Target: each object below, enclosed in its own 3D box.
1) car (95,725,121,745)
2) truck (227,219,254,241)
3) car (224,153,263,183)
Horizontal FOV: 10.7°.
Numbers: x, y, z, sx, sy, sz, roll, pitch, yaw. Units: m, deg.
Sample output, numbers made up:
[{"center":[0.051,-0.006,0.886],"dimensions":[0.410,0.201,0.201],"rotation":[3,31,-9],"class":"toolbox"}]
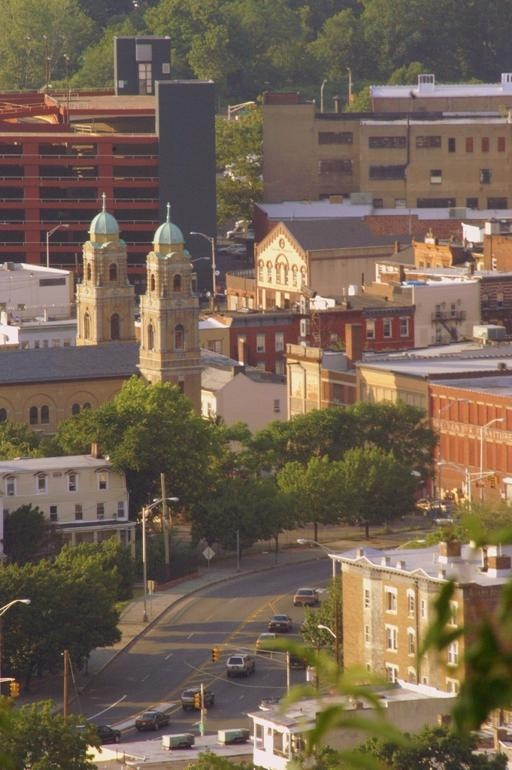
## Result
[{"center":[-6.352,15.181,116.729],"dimensions":[0.938,0.866,2.568],"rotation":[-3,9,-1],"class":"car"},{"center":[-1.649,-15.409,271.186],"dimensions":[2.094,1.660,4.001],"rotation":[-1,0,-25],"class":"truck"},{"center":[-1.258,-20.876,266.415],"dimensions":[2.917,2.338,9.213],"rotation":[-3,9,1],"class":"car"}]
